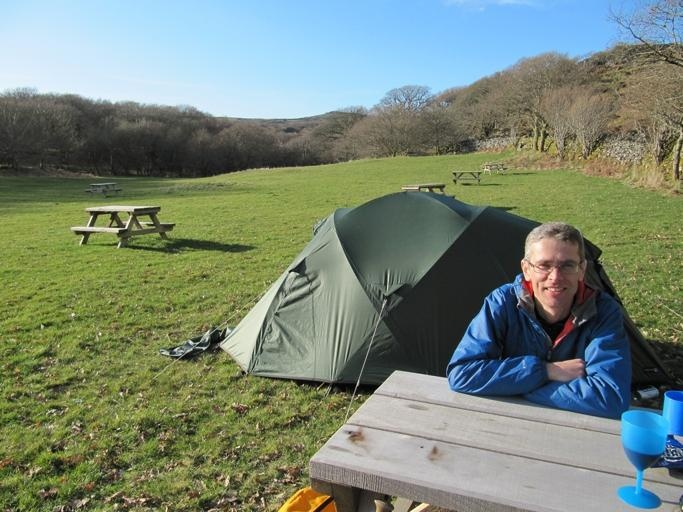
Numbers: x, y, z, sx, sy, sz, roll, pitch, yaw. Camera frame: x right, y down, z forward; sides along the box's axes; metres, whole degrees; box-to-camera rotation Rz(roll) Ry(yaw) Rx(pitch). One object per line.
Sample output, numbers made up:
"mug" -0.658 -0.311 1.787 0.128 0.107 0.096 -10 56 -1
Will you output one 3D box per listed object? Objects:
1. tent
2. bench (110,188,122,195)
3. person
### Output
"tent" 1.089 0.393 8.159 3.187 5.434 2.716 0 2 21
"bench" -16.077 -4.592 37.918 0.632 0.283 1.027 8 7 18
"person" 1.769 0.640 4.462 0.887 2.034 1.110 1 2 29
